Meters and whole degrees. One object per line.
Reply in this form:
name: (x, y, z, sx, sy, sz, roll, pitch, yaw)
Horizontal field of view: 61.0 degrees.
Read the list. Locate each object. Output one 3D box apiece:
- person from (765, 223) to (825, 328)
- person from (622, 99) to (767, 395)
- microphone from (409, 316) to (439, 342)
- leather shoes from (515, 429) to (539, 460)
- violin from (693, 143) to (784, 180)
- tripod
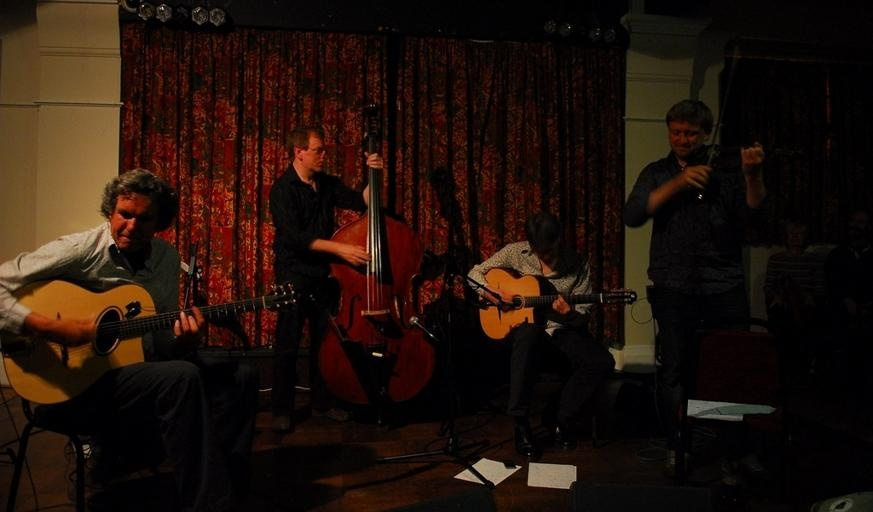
person: (3.557, 0.185, 7.374, 0.529, 0.993, 0.563, 4, 5, 11)
person: (2.034, -0.089, 5.908, 0.992, 2.247, 0.381, 5, 5, 22)
microphone: (-0.130, 0.586, 6.172, 0.127, 0.115, 0.327, 16, 13, -36)
leather shoes: (0.765, 1.561, 6.173, 0.222, 0.209, 0.175, 3, 5, 4)
violin: (2.196, -0.744, 5.800, 0.393, 0.240, 0.216, 4, 5, 17)
tripod: (0.064, 1.524, 6.123, 0.900, 0.430, 0.715, 3, 4, 6)
